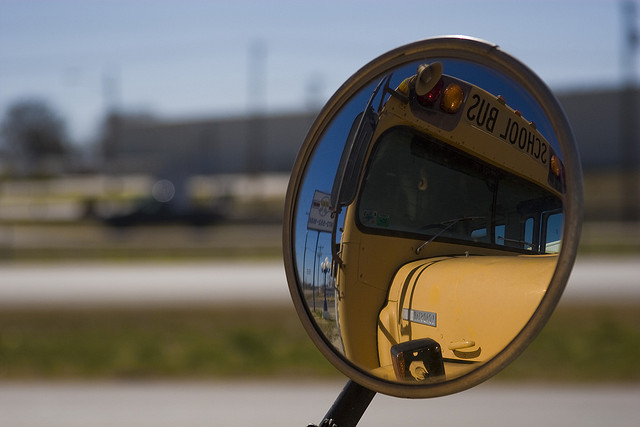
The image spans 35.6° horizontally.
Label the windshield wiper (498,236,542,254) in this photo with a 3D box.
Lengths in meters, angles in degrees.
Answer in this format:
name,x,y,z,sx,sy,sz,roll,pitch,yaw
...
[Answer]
name,x,y,z,sx,sy,sz,roll,pitch,yaw
windshield wiper,0.825,0.125,4.172,0.154,0.043,0.016,2,4,21
